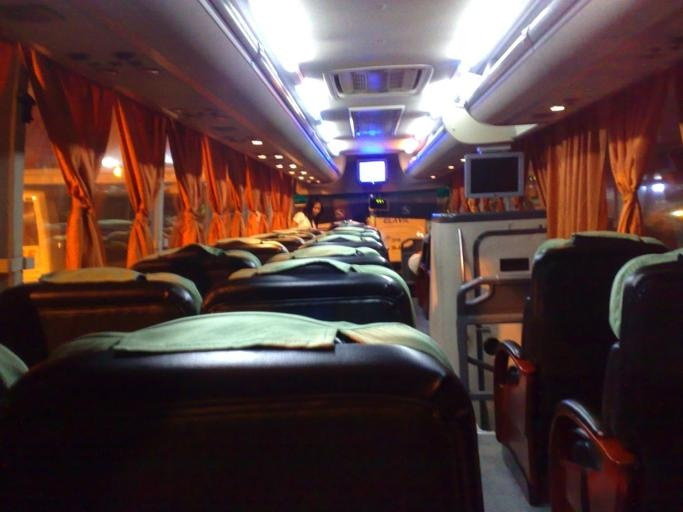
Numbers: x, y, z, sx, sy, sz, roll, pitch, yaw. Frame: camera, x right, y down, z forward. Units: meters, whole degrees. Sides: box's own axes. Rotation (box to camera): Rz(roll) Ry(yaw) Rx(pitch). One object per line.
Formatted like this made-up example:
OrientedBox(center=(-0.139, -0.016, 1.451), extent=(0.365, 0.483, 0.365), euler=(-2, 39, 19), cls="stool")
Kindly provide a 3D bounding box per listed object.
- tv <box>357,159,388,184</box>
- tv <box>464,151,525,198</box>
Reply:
OrientedBox(center=(0.721, -1.997, 12.122), extent=(0.843, 0.655, 0.450), euler=(0, 4, 1), cls="tv")
OrientedBox(center=(1.389, -0.743, 4.580), extent=(0.390, 0.312, 0.055), euler=(-1, -1, 5), cls="tv")
